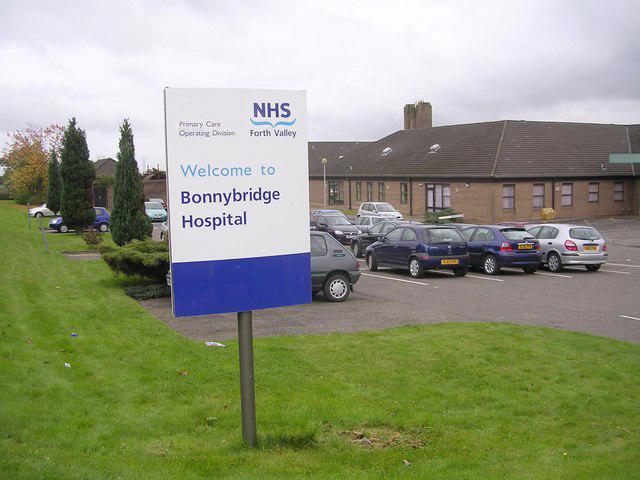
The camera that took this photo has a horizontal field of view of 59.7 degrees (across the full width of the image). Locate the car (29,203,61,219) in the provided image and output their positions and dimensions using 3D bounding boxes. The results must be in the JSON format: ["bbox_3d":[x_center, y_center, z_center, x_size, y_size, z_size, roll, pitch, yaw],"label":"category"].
[{"bbox_3d":[-21.284,-2.227,42.903,1.936,0.981,1.062,3,0,-31],"label":"car"}]

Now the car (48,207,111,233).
[{"bbox_3d":[-13.941,-1.100,32.537,2.869,1.437,1.721,2,1,-14],"label":"car"}]
